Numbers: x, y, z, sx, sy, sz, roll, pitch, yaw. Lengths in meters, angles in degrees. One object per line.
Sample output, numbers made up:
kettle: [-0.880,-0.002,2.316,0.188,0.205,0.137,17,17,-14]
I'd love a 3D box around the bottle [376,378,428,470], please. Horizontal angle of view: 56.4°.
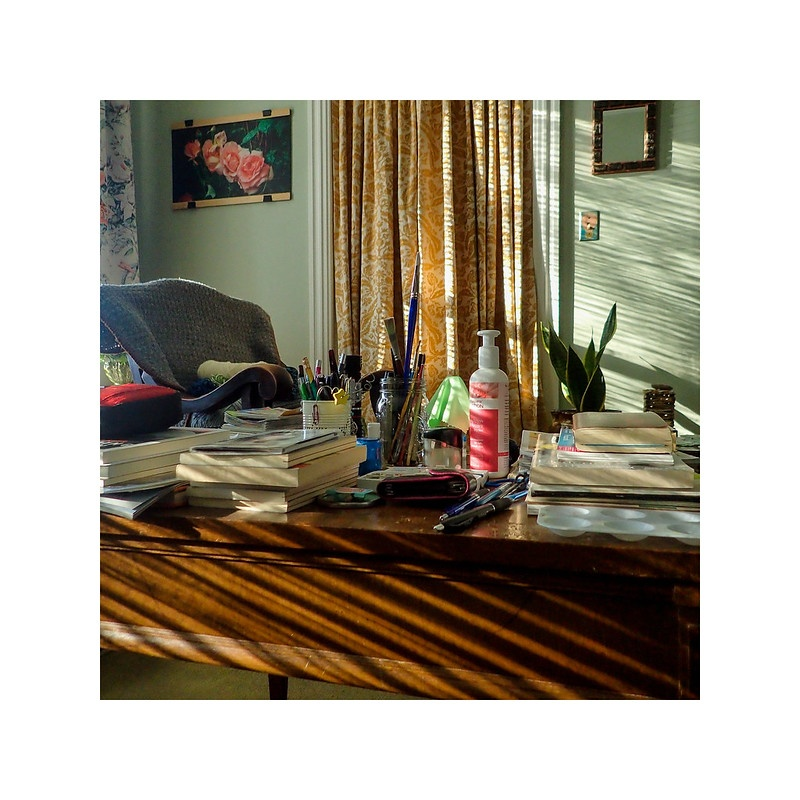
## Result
bottle: [0.002,0.034,1.218,0.076,0.143,0.054,-2,10,-2]

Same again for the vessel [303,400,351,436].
vessel: [-0.113,0.028,1.159,0.057,0.043,0.061,1,-3,-40]

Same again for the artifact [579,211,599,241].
artifact: [0.748,-0.683,2.930,0.075,0.115,0.022,0,10,11]

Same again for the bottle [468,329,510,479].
bottle: [0.130,0.010,1.084,0.058,0.219,0.124,0,10,7]

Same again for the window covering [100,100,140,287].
window covering: [-1.273,-0.959,3.328,0.104,0.884,0.156,-9,-14,-4]
